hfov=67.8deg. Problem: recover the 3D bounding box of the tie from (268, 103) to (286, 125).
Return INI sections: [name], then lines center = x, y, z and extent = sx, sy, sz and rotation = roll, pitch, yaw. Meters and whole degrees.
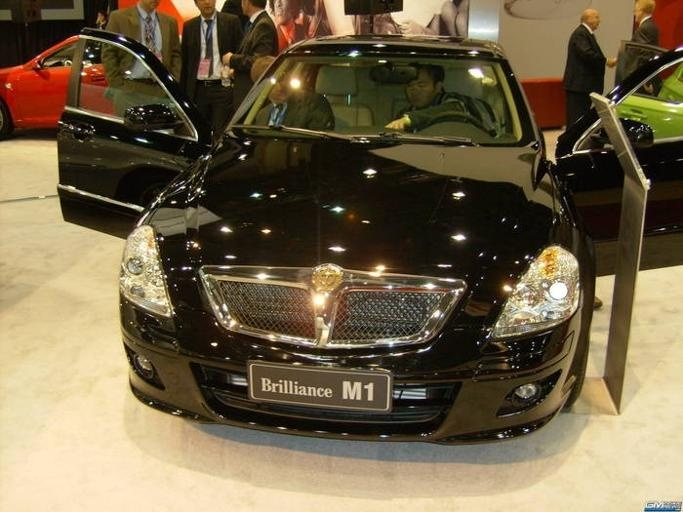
[tie]
center = -0.331, -0.753, 2.651
extent = 0.063, 0.051, 0.192
rotation = 31, 40, 1
